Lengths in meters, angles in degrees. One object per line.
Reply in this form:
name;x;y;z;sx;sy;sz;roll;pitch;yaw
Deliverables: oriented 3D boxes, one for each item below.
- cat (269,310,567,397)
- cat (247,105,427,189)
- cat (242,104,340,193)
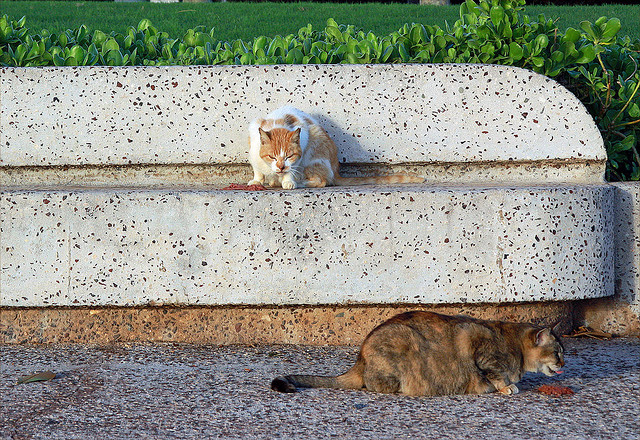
cat;0.624;0.838;9.032;1.732;0.613;0.507;0;1;-3
cat;0.104;-0.486;10.110;1.216;0.576;0.368;-4;12;-26
cat;-0.236;-0.486;10.070;0.511;0.617;0.898;5;12;17
